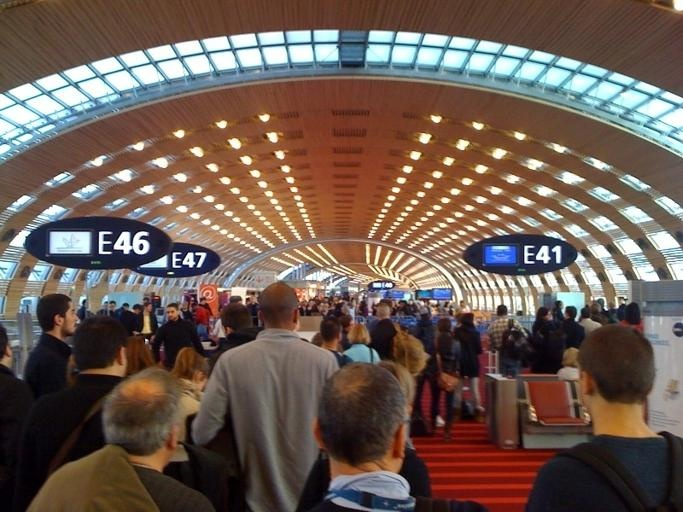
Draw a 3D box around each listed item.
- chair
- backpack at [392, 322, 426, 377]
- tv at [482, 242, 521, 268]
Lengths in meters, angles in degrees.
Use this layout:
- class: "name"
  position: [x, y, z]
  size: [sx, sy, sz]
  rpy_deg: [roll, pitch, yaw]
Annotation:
- class: "chair"
  position: [3.726, 2.733, 8.050]
  size: [1.251, 0.795, 0.872]
  rpy_deg: [2, -2, 6]
- class: "backpack"
  position: [1.091, 1.522, 7.411]
  size: [0.522, 0.789, 0.430]
  rpy_deg: [-1, -16, 7]
- class: "tv"
  position: [5.238, -0.016, 15.083]
  size: [1.104, 0.556, 0.107]
  rpy_deg: [-1, -7, 24]
